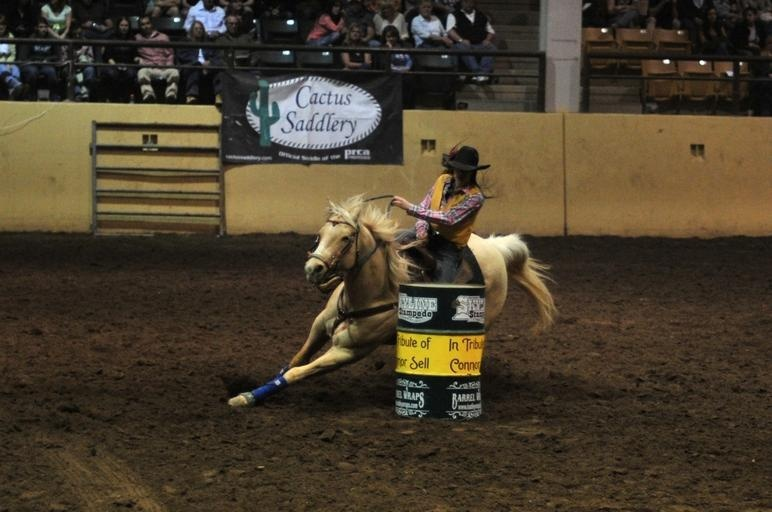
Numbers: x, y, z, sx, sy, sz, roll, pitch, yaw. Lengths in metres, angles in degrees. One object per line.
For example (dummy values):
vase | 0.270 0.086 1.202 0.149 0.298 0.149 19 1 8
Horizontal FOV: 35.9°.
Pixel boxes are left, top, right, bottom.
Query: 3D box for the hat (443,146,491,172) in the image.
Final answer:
hat | 1.194 -1.337 17.329 0.645 0.219 0.680 14 13 28

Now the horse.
horse | 0.316 0.551 17.921 1.770 3.037 6.654 17 20 42
